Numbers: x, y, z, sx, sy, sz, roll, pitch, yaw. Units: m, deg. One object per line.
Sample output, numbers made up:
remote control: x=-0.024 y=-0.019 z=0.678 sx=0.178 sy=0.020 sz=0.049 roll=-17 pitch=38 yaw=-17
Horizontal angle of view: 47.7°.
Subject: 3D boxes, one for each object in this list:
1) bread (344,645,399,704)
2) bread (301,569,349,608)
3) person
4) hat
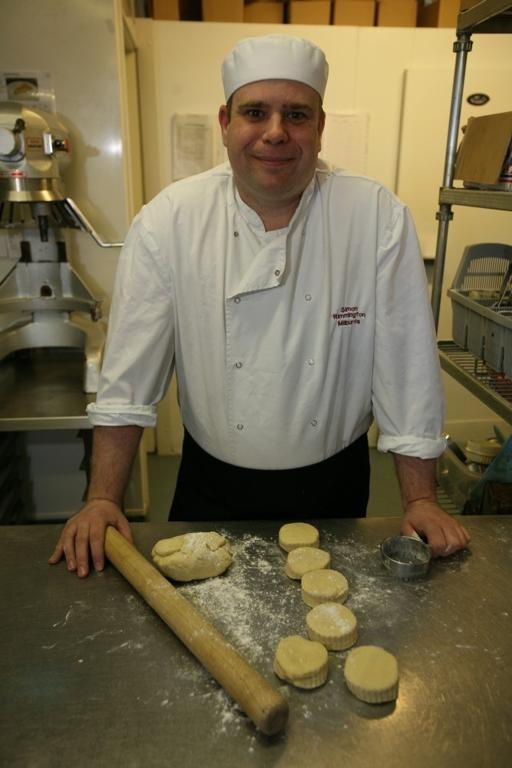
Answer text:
bread: x=0.150 y=0.377 z=0.760 sx=0.069 sy=0.035 sz=0.099 roll=1 pitch=14 yaw=3
bread: x=0.110 y=0.334 z=0.935 sx=0.076 sy=0.031 sz=0.076 roll=-3 pitch=15 yaw=-15
person: x=0.033 y=-0.015 z=1.290 sx=0.800 sy=0.970 sz=0.602 roll=0 pitch=14 yaw=-3
hat: x=0.038 y=-0.662 z=1.200 sx=0.214 sy=0.110 sz=0.130 roll=1 pitch=14 yaw=2
